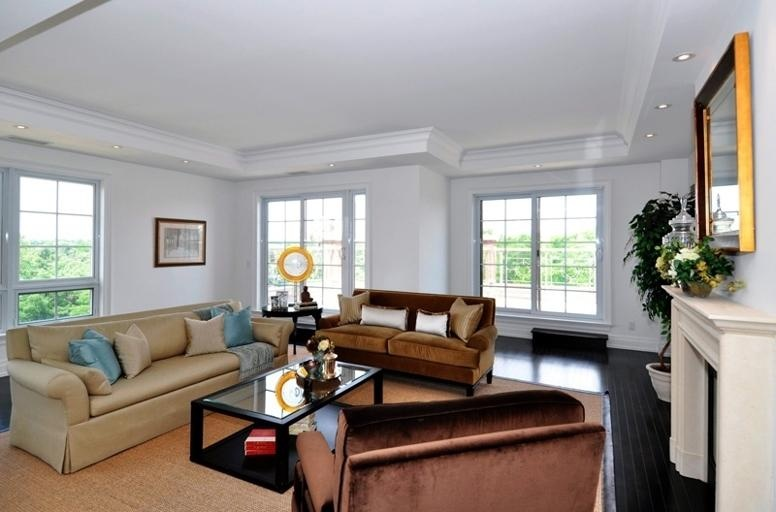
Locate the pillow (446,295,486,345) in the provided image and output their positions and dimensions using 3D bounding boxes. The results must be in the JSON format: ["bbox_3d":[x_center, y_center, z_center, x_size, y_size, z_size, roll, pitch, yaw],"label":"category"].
[{"bbox_3d":[0.887,0.731,5.751,0.403,0.458,0.468,0,0,39],"label":"pillow"}]

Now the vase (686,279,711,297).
[{"bbox_3d":[2.317,0.238,3.675,0.132,0.079,0.129,-1,-9,15],"label":"vase"}]

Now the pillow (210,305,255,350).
[{"bbox_3d":[-1.723,0.809,5.486,0.413,0.393,0.145,9,-37,-44],"label":"pillow"}]

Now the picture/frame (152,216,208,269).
[{"bbox_3d":[-3.241,-0.211,7.821,0.076,0.743,0.937,3,3,30],"label":"picture/frame"}]

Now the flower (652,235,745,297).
[{"bbox_3d":[2.371,0.089,3.790,0.481,0.329,0.484,2,-2,13],"label":"flower"}]

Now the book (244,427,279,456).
[{"bbox_3d":[-1.061,1.571,4.176,0.294,0.063,0.281,2,2,-10],"label":"book"}]

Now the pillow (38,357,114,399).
[{"bbox_3d":[-2.560,1.033,4.162,0.373,0.109,0.370,11,-6,31],"label":"pillow"}]

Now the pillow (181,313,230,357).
[{"bbox_3d":[-1.937,0.858,5.269,0.414,0.389,0.140,5,-30,-34],"label":"pillow"}]

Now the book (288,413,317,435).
[{"bbox_3d":[-0.741,1.495,4.388,0.338,0.123,0.239,0,-4,-19],"label":"book"}]

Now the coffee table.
[{"bbox_3d":[-1.056,1.368,4.231,0.917,0.495,1.427,5,7,28],"label":"coffee table"}]
